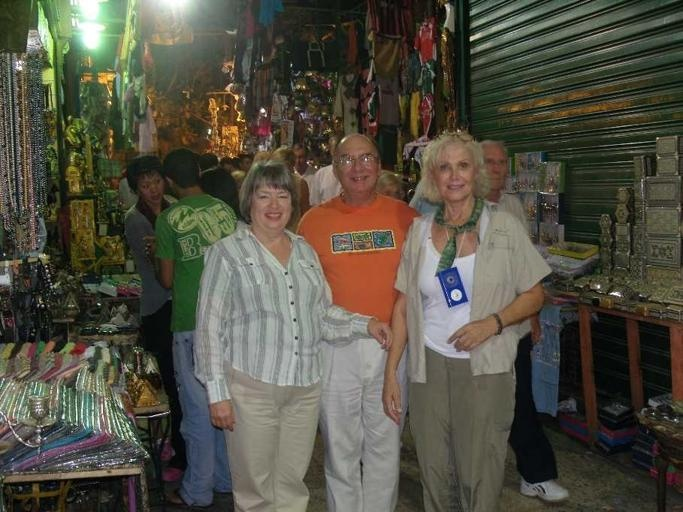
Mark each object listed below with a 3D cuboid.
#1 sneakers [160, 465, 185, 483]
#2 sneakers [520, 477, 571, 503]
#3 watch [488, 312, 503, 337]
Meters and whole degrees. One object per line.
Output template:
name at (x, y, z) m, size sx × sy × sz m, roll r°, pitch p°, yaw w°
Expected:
sneakers at (-1.336, 1.716, 4.211) m, size 0.098 × 0.054 × 0.161 m, roll 3°, pitch 13°, yaw -7°
sneakers at (1.435, 1.638, 3.781) m, size 0.341 × 0.171 × 0.139 m, roll -1°, pitch 6°, yaw 27°
watch at (0.770, 0.331, 2.642) m, size 0.047 × 0.096 × 0.043 m, roll -6°, pitch 7°, yaw -30°
